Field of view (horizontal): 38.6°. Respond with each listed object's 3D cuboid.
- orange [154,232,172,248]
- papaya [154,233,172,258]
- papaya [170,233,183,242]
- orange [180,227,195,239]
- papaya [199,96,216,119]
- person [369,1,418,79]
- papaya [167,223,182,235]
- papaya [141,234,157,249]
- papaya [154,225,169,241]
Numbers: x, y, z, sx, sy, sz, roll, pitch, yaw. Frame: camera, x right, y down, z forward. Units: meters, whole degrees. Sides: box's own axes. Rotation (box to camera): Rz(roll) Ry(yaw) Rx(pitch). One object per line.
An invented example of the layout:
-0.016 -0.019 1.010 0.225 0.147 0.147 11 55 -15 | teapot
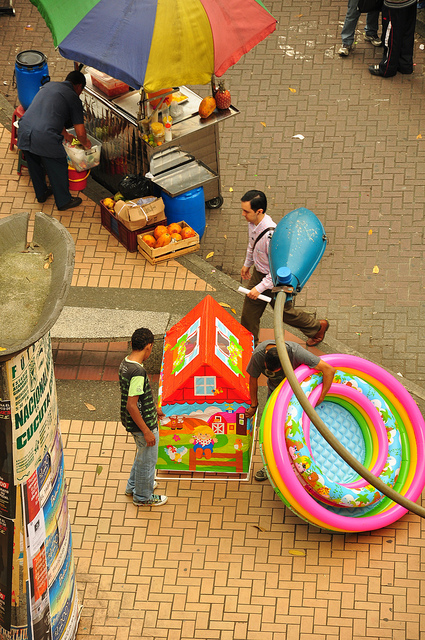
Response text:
-0.603 -0.982 7.596 0.141 0.255 0.127 49 11 -6 | orange
-0.601 -0.980 7.561 0.230 0.156 0.180 -13 47 -13 | papaya
-0.445 -1.036 7.641 0.139 0.087 0.130 -2 45 -3 | papaya
-0.312 -1.107 7.658 0.159 0.082 0.141 0 82 1 | orange
-0.080 -2.748 7.908 0.178 0.276 0.156 31 6 -26 | papaya
3.042 -4.618 9.969 0.746 1.212 0.440 9 48 8 | person
-0.481 -1.160 7.736 0.149 0.132 0.136 1 2 0 | papaya
-0.775 -0.986 7.613 0.180 0.104 0.197 -20 49 -20 | papaya
-0.647 -1.098 7.665 0.165 0.159 0.186 -26 37 27 | papaya
